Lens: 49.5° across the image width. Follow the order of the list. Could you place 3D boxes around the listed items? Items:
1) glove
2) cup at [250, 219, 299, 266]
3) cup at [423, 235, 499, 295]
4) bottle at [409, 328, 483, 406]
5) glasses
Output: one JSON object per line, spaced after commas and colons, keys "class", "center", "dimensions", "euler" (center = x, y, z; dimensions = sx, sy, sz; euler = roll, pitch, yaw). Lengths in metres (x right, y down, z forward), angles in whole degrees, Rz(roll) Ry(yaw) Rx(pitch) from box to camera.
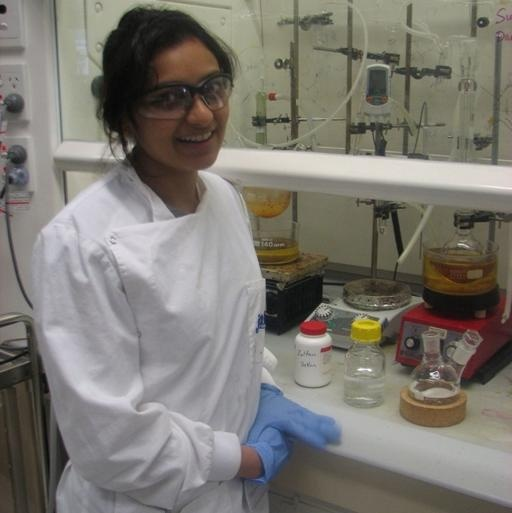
{"class": "glove", "center": [0.080, 0.382, 1.178], "dimensions": [0.163, 0.062, 0.177], "euler": [18, 41, 11]}
{"class": "cup", "center": [0.064, -0.042, 1.794], "dimensions": [0.132, 0.119, 0.148], "euler": [-1, 7, -1]}
{"class": "cup", "center": [0.515, 0.027, 1.398], "dimensions": [0.137, 0.121, 0.149], "euler": [-2, 4, 0]}
{"class": "bottle", "center": [0.441, 0.254, 1.273], "dimensions": [0.118, 0.158, 0.077], "euler": [11, 10, 32]}
{"class": "glasses", "center": [-0.110, -0.291, 1.009], "dimensions": [0.084, 0.077, 0.200], "euler": [11, 21, 43]}
